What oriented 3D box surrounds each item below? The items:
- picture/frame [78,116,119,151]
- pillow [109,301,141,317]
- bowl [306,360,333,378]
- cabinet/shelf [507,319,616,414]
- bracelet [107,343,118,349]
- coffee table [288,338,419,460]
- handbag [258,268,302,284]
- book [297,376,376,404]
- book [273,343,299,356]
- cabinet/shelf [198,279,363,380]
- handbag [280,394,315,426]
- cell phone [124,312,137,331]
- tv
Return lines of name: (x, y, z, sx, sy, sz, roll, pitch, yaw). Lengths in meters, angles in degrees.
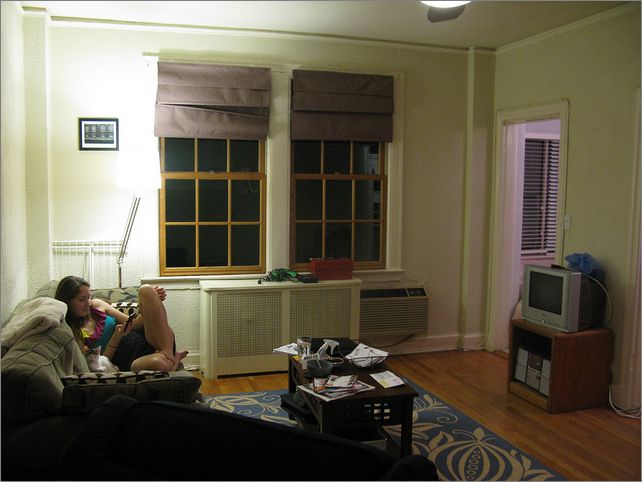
picture/frame: (-2.051, -0.976, 4.560, 0.381, 0.276, 0.026, 0, 4, -13)
pillow: (-1.593, 0.545, 4.089, 0.152, 0.063, 0.138, 1, 7, 2)
bowl: (-0.015, 0.822, 3.289, 0.129, 0.054, 0.124, 0, 0, 0)
cabinet/shelf: (2.074, 1.053, 4.348, 0.802, 0.538, 0.721, 1, 1, 0)
bracelet: (-1.546, 0.770, 3.704, 0.059, 0.012, 0.055, 3, 4, 9)
coffee table: (0.189, 1.088, 3.406, 0.646, 0.514, 0.848, -2, 10, -15)
handbag: (-0.387, 0.341, 4.846, 0.261, 0.099, 0.179, -5, 8, -41)
book: (0.097, 0.914, 3.146, 0.413, 0.046, 0.279, -4, 10, -27)
book: (-0.249, 0.799, 3.674, 0.164, 0.034, 0.163, -3, 6, -27)
cabinet/shelf: (-0.446, 0.784, 4.445, 1.082, 0.543, 0.311, 0, 9, -12)
handbag: (-0.154, 1.113, 3.342, 0.225, 0.047, 0.219, 0, 5, -26)
cell phone: (-1.484, 0.629, 3.893, 0.016, 0.143, 0.079, 28, 37, -8)
tv: (2.132, 0.454, 4.264, 0.602, 0.490, 0.648, -3, 5, -16)
